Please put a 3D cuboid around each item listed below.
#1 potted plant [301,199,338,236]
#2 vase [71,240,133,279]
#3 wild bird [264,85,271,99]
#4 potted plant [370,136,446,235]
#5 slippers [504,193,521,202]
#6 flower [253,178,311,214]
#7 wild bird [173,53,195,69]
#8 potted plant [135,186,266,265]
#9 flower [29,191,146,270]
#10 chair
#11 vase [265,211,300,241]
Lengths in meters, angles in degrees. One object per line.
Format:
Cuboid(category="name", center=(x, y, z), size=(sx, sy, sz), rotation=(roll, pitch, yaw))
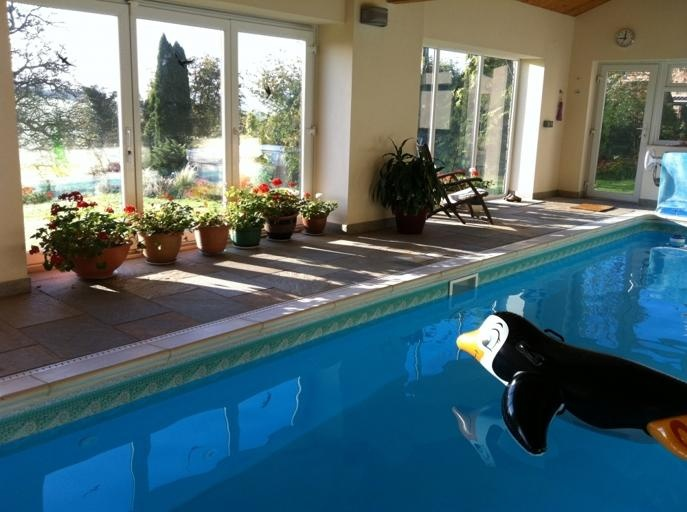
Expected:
Cuboid(category="potted plant", center=(-0.329, -0.586, 6.352), size=(0.501, 0.451, 0.517), rotation=(7, 13, 25))
Cuboid(category="vase", center=(-2.280, 0.057, 4.260), size=(0.389, 0.182, 0.385), rotation=(-5, 15, -12))
Cuboid(category="wild bird", center=(-1.012, -2.216, 6.075), size=(0.100, 0.133, 0.042), rotation=(-13, 19, -42))
Cuboid(category="potted plant", center=(0.952, -0.992, 6.814), size=(0.896, 1.158, 0.854), rotation=(-20, 23, -16))
Cuboid(category="slippers", center=(3.604, -1.236, 9.613), size=(0.258, 0.091, 0.182), rotation=(2, 14, -11))
Cuboid(category="flower", center=(-0.890, -0.840, 6.028), size=(0.544, 0.368, 0.591), rotation=(-9, 6, -44))
Cuboid(category="wild bird", center=(-1.851, -2.272, 5.253), size=(0.237, 0.128, 0.130), rotation=(3, 48, -55))
Cuboid(category="potted plant", center=(-1.548, -0.381, 5.214), size=(1.498, 0.586, 0.683), rotation=(-16, 25, -42))
Cuboid(category="flower", center=(-2.463, -0.112, 4.235), size=(0.786, 0.499, 0.686), rotation=(-1, 17, -30))
Cuboid(category="chair", center=(1.949, -1.231, 7.638), size=(1.049, 1.154, 0.757), rotation=(-7, 13, 12))
Cuboid(category="vase", center=(-0.828, -0.422, 5.912), size=(0.372, 0.294, 0.408), rotation=(-1, 14, -9))
